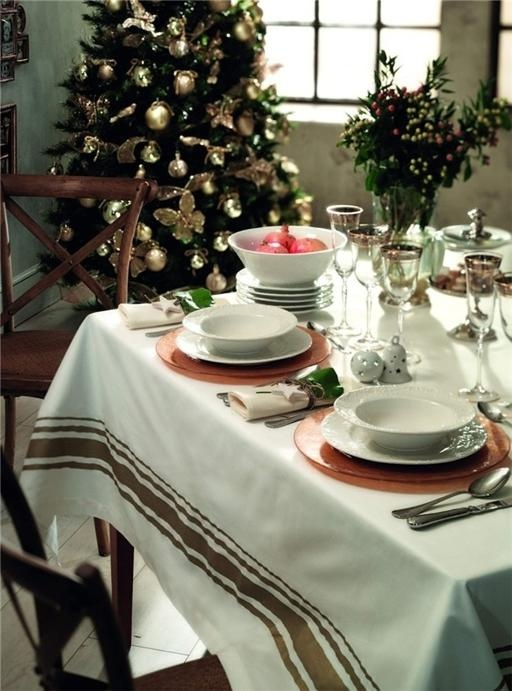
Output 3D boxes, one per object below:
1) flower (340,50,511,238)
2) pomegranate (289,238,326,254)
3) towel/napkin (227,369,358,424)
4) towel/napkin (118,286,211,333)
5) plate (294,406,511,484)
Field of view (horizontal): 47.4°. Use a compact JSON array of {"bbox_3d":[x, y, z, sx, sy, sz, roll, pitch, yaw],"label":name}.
[{"bbox_3d":[0.423,-0.466,1.326,0.340,0.424,0.463,10,14,33],"label":"flower"},{"bbox_3d":[0.121,-0.216,1.277,0.057,0.051,0.053,2,10,2],"label":"pomegranate"},{"bbox_3d":[0.042,0.056,0.803,0.131,0.046,0.078,-10,14,-23],"label":"towel/napkin"},{"bbox_3d":[-0.184,-0.057,1.223,0.147,0.044,0.104,-16,29,-28],"label":"towel/napkin"},{"bbox_3d":[0.163,0.114,0.673,0.246,0.034,0.183,4,12,14],"label":"plate"}]
